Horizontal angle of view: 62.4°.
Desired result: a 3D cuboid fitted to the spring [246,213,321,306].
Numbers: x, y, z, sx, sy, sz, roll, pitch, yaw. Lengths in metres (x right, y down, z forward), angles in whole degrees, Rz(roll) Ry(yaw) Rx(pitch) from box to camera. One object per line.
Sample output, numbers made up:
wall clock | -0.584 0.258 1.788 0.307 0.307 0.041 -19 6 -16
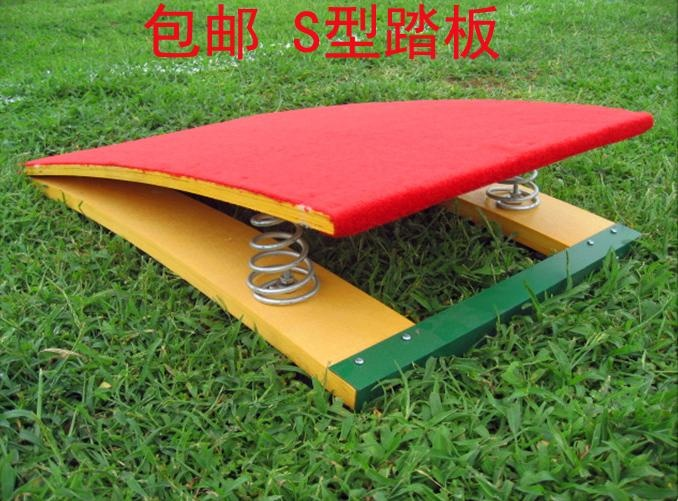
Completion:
spring | -0.210 0.044 1.928 0.267 0.214 0.205 -12 32 -1

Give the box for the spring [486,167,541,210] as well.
spring | 0.762 -0.252 2.418 0.172 0.176 0.097 -12 63 50

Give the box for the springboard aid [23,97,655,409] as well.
springboard aid | -0.171 -0.145 2.073 1.445 0.406 1.878 -21 31 -38
